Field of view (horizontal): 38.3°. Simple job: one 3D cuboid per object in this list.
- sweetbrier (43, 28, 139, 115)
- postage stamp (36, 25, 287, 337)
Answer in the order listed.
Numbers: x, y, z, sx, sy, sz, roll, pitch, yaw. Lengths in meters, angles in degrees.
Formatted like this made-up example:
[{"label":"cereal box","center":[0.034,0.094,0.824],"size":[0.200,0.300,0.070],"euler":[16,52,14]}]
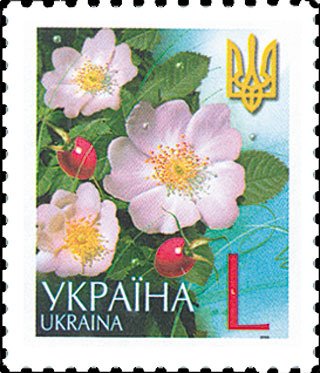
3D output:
[{"label":"sweetbrier","center":[-0.227,-0.341,1.393],"size":[0.263,0.089,0.279],"euler":[9,98,3]},{"label":"postage stamp","center":[0.011,-0.017,1.438],"size":[0.899,0.086,1.194],"euler":[1,91,-4]}]
